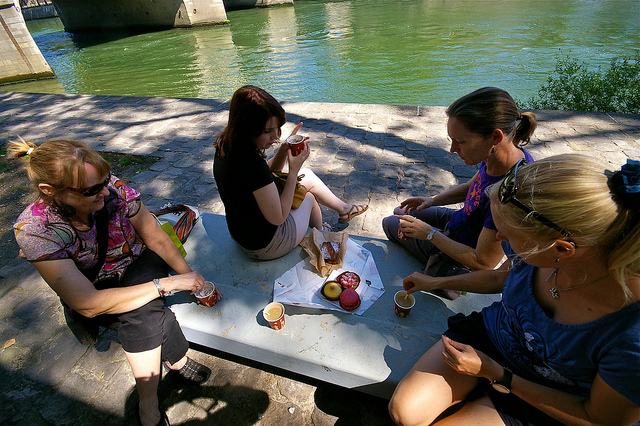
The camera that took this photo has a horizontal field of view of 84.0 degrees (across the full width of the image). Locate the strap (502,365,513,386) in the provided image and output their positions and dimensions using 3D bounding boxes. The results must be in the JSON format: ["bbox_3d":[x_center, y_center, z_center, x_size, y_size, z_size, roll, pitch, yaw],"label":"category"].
[{"bbox_3d":[1.501,1.320,2.879,0.077,0.136,0.110,8,3,1],"label":"strap"}]

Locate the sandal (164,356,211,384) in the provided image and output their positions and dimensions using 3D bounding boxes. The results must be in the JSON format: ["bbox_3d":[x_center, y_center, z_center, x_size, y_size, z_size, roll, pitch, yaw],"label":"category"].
[{"bbox_3d":[-1.403,1.655,3.739,0.656,0.240,0.239,-17,56,29],"label":"sandal"}]

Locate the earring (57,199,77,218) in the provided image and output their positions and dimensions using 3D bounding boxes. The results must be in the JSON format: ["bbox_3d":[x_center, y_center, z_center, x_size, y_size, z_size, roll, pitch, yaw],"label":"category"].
[{"bbox_3d":[-2.247,-0.022,3.139,0.149,0.152,0.032,-8,39,-2],"label":"earring"}]

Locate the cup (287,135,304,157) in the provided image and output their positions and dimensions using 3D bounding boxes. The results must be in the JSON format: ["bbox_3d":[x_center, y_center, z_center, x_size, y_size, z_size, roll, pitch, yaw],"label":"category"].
[{"bbox_3d":[-0.264,-0.751,4.004,0.205,0.179,0.235,-2,49,7],"label":"cup"}]

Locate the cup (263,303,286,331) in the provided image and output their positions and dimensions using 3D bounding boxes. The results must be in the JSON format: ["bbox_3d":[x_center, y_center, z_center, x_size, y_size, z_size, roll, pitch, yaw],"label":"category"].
[{"bbox_3d":[-0.459,1.021,3.615,0.258,0.181,0.248,-9,30,5],"label":"cup"}]

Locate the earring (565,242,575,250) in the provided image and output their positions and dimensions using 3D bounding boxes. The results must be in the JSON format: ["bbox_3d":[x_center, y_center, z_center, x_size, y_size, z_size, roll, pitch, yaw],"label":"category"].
[{"bbox_3d":[1.759,0.232,2.507,0.069,0.049,0.036,-1,38,7],"label":"earring"}]

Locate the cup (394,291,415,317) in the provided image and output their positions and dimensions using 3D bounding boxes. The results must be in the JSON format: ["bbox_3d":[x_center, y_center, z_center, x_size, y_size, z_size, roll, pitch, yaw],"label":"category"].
[{"bbox_3d":[0.839,0.908,3.651,0.248,0.181,0.234,1,39,-1],"label":"cup"}]

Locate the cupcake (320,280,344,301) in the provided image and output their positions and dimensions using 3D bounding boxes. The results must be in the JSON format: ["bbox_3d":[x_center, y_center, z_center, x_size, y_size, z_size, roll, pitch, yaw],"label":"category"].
[{"bbox_3d":[0.127,0.819,3.759,0.203,0.095,0.188,0,42,1],"label":"cupcake"}]

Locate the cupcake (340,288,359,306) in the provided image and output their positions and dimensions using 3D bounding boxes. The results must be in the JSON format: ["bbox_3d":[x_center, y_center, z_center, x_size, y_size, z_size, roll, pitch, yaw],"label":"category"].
[{"bbox_3d":[0.297,0.867,3.645,0.176,0.076,0.170,-28,42,-27],"label":"cupcake"}]

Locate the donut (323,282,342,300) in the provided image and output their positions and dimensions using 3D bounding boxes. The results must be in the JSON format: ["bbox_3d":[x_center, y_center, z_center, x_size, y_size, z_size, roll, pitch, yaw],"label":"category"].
[{"bbox_3d":[0.127,0.817,3.729,0.192,0.084,0.172,-22,39,-20],"label":"donut"}]

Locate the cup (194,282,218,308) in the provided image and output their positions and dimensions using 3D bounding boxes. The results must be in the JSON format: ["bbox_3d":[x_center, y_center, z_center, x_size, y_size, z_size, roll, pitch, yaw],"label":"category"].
[{"bbox_3d":[-1.207,0.899,3.807,0.215,0.190,0.253,-17,32,-13],"label":"cup"}]

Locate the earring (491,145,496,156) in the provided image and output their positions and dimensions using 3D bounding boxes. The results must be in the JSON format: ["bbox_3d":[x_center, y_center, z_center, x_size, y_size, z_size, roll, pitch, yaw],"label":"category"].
[{"bbox_3d":[1.630,-0.580,3.348,0.031,0.085,0.019,-22,41,-18],"label":"earring"}]

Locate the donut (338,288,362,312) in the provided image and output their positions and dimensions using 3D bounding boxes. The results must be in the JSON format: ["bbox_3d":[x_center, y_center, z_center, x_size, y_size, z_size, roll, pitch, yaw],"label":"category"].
[{"bbox_3d":[0.296,0.892,3.669,0.209,0.143,0.194,14,42,25],"label":"donut"}]

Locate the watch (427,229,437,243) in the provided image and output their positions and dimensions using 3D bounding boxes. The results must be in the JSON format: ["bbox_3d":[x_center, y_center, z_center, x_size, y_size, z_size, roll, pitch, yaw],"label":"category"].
[{"bbox_3d":[1.144,0.236,3.660,0.043,0.087,0.100,42,75,6],"label":"watch"}]

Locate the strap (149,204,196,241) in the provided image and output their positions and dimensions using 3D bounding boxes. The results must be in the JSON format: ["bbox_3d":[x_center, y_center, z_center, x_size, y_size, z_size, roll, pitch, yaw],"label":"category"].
[{"bbox_3d":[-1.822,0.142,4.458,0.352,0.226,0.591,8,18,3],"label":"strap"}]

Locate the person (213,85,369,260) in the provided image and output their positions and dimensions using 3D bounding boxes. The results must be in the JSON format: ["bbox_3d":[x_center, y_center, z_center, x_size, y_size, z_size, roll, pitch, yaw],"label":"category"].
[{"bbox_3d":[-0.511,-0.351,4.113,0.722,2.153,1.325,24,48,33],"label":"person"}]

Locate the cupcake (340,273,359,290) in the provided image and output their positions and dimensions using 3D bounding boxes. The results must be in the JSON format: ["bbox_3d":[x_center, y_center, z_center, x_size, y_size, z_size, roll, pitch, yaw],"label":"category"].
[{"bbox_3d":[0.315,0.732,3.828,0.149,0.043,0.145,-5,39,-2],"label":"cupcake"}]
